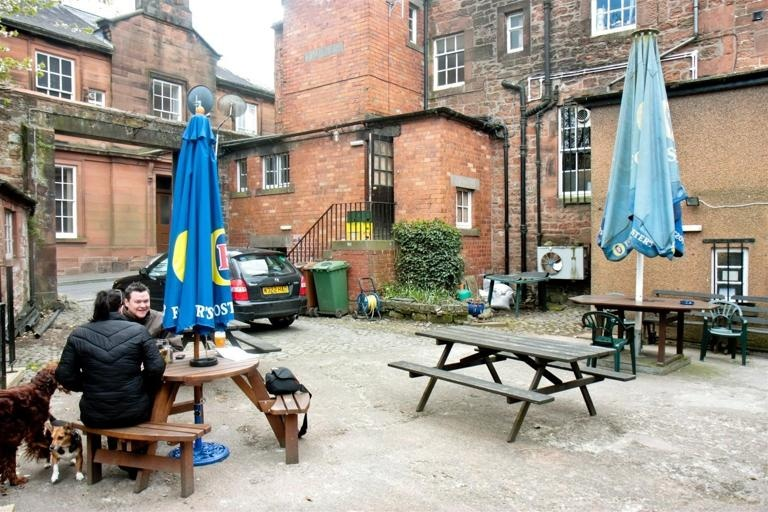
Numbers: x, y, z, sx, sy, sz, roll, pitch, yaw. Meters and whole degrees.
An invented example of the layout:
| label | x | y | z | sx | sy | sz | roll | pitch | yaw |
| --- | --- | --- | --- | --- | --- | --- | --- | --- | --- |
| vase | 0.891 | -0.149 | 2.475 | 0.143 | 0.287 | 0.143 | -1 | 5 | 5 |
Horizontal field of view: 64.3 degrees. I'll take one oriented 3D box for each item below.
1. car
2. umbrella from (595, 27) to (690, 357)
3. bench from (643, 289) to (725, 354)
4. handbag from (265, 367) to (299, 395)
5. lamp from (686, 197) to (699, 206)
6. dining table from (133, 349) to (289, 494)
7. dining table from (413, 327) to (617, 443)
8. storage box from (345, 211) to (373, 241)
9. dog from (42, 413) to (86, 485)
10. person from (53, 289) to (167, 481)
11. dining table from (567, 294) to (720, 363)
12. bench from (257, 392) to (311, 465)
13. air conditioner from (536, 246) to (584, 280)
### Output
| label | x | y | z | sx | sy | sz | roll | pitch | yaw |
| --- | --- | --- | --- | --- | --- | --- | --- | --- | --- |
| car | -3.988 | 0.547 | 13.482 | 3.924 | 1.079 | 1.741 | 5 | 4 | 31 |
| umbrella | 4.348 | -1.867 | 10.266 | 0.775 | 3.937 | 1.193 | -3 | 9 | -27 |
| bench | 5.342 | 1.146 | 11.676 | 0.793 | 1.008 | 1.717 | 7 | -2 | -13 |
| handbag | -1.305 | 1.598 | 7.842 | 0.408 | 0.224 | 0.362 | -1 | 4 | -6 |
| lamp | 6.111 | -1.095 | 12.176 | 0.304 | 0.222 | 0.141 | 0 | 1 | 17 |
| dining table | -1.955 | 1.976 | 7.444 | 1.685 | 0.862 | 1.611 | -2 | 2 | -39 |
| dining table | 1.858 | 1.418 | 8.551 | 1.691 | 0.852 | 2.403 | -7 | 8 | -41 |
| storage box | -0.655 | -0.807 | 16.377 | 0.583 | 0.819 | 1.020 | -1 | 1 | -44 |
| dog | -3.814 | 2.291 | 7.407 | 0.429 | 0.751 | 1.102 | -2 | -12 | -15 |
| person | -3.105 | 1.178 | 6.954 | 1.117 | 1.555 | 0.410 | -2 | 9 | -21 |
| dining table | 4.519 | 0.873 | 10.666 | 2.290 | 0.914 | 1.333 | 5 | 13 | 36 |
| bench | -1.283 | 2.160 | 7.724 | 0.831 | 0.665 | 0.854 | -1 | 3 | -12 |
| air conditioner | 4.999 | 0.180 | 16.578 | 0.986 | 0.951 | 1.535 | -5 | 3 | -34 |
